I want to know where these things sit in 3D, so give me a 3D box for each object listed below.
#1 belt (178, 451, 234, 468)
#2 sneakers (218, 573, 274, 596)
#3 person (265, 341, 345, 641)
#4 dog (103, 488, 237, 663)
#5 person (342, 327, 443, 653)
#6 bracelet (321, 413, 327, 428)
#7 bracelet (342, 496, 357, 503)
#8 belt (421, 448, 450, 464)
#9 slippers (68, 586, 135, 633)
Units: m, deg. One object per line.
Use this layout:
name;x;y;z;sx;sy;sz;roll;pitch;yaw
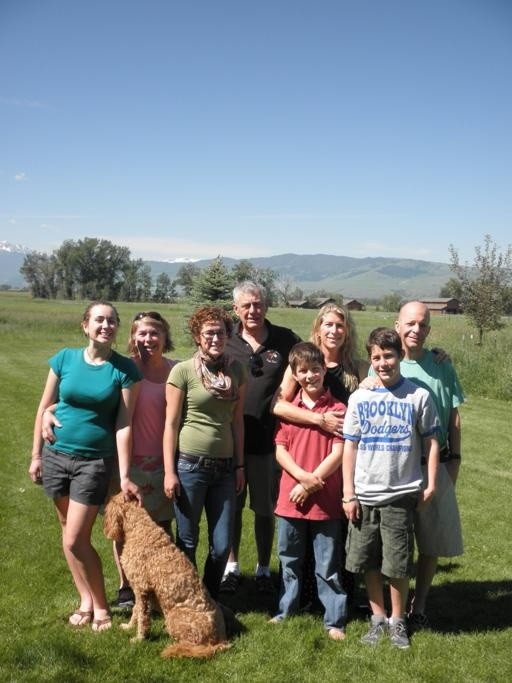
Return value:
belt;-0.384;0.905;4.432;0.423;0.104;0.137;5;-3;-17
sneakers;-0.089;2.259;5.418;0.495;0.203;0.169;10;22;-13
person;0.451;1.111;4.598;0.637;2.230;0.489;4;-3;3
dog;-0.635;1.621;4.082;0.996;1.028;0.613;10;19;25
person;1.000;1.063;4.398;0.702;2.325;0.345;3;-3;12
bracelet;0.527;0.607;4.498;0.031;0.099;0.025;3;-3;6
bracelet;0.702;1.182;4.373;0.071;0.025;0.064;-1;-4;-6
belt;1.383;0.880;4.492;0.178;0.132;0.172;-6;11;-1
slippers;-1.146;2.064;4.512;0.171;0.211;0.547;17;-20;7
